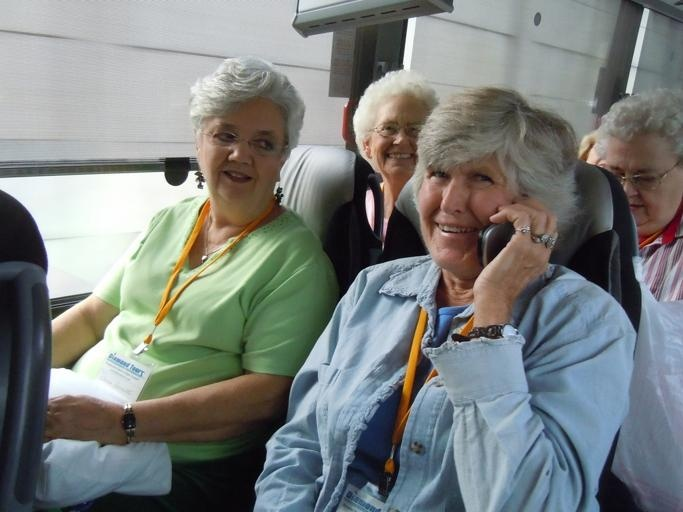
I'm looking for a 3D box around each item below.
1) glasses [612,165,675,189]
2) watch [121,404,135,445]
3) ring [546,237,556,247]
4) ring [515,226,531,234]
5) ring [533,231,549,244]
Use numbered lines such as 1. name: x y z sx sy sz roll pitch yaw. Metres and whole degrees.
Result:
1. glasses: 1.227 -0.317 2.310 0.131 0.041 0.126 -25 13 -30
2. watch: -0.718 0.566 1.952 0.051 0.117 0.037 2 6 -13
3. ring: 0.623 -0.041 1.700 0.030 0.030 0.010 -15 9 -21
4. ring: 0.536 -0.076 1.684 0.045 0.023 0.014 4 6 6
5. ring: 0.591 -0.056 1.688 0.032 0.009 0.030 0 19 0
